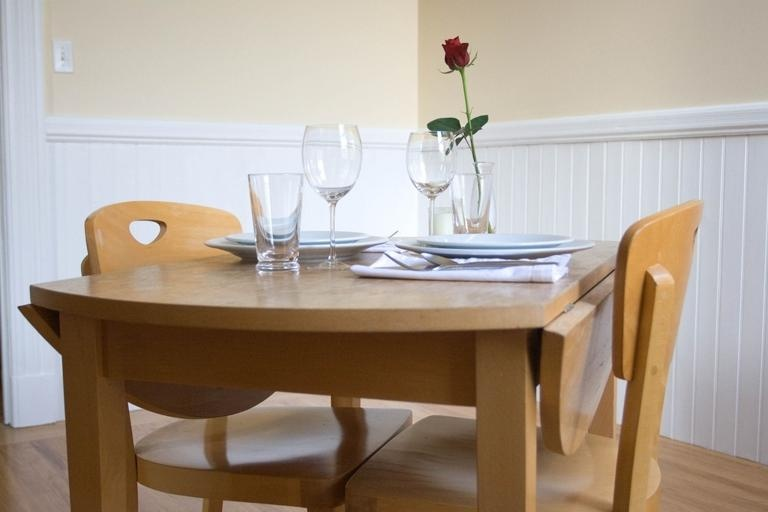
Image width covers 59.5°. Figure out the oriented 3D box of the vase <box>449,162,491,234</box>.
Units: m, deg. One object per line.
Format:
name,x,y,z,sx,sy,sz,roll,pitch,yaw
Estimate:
vase,0.226,-0.154,1.742,0.114,0.179,0.114,-2,-6,26
